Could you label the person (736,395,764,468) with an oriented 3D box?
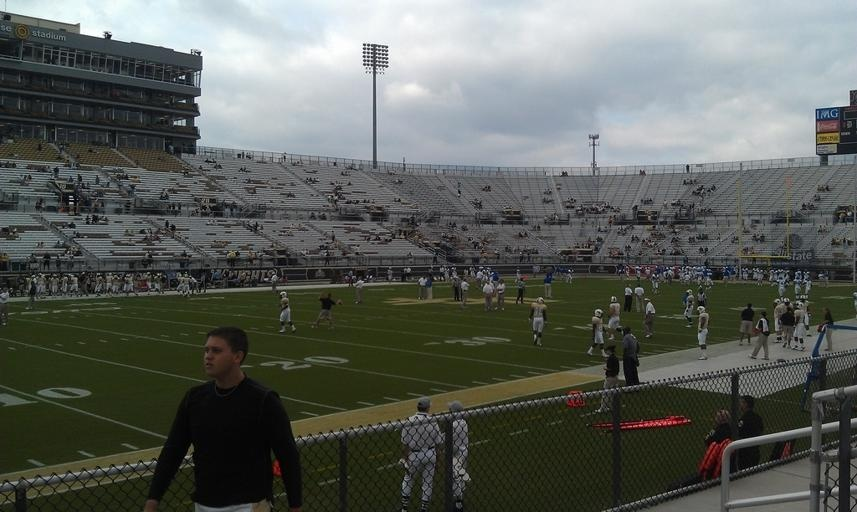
[{"bbox_3d":[6.727,3.667,15.780,0.445,1.247,1.340,-2,0,27],"label":"person"}]
